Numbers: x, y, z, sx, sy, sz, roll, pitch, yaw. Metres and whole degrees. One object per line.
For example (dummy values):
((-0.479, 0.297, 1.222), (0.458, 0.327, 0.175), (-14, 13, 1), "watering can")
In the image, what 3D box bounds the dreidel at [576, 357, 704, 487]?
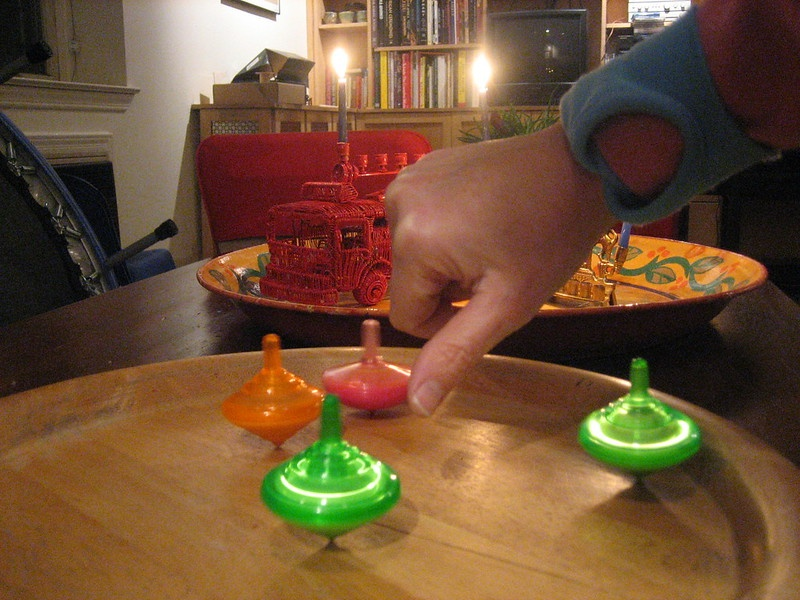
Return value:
((0.207, 0.099, 0.581), (0.092, 0.079, 0.089), (-10, 15, -32), "dreidel")

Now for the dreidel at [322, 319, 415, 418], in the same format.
((-0.025, 0.064, 0.672), (0.094, 0.083, 0.090), (2, 11, 6), "dreidel")

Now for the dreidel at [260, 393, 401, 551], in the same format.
((-0.051, 0.121, 0.465), (0.100, 0.088, 0.061), (1, 17, 0), "dreidel")

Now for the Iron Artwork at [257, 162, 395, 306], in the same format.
((-0.118, -0.119, 1.148), (0.217, 0.243, 0.383), (3, 12, 17), "Iron Artwork")

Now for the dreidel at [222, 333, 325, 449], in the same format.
((-0.107, 0.071, 0.601), (0.105, 0.108, 0.095), (-3, 6, -13), "dreidel")
